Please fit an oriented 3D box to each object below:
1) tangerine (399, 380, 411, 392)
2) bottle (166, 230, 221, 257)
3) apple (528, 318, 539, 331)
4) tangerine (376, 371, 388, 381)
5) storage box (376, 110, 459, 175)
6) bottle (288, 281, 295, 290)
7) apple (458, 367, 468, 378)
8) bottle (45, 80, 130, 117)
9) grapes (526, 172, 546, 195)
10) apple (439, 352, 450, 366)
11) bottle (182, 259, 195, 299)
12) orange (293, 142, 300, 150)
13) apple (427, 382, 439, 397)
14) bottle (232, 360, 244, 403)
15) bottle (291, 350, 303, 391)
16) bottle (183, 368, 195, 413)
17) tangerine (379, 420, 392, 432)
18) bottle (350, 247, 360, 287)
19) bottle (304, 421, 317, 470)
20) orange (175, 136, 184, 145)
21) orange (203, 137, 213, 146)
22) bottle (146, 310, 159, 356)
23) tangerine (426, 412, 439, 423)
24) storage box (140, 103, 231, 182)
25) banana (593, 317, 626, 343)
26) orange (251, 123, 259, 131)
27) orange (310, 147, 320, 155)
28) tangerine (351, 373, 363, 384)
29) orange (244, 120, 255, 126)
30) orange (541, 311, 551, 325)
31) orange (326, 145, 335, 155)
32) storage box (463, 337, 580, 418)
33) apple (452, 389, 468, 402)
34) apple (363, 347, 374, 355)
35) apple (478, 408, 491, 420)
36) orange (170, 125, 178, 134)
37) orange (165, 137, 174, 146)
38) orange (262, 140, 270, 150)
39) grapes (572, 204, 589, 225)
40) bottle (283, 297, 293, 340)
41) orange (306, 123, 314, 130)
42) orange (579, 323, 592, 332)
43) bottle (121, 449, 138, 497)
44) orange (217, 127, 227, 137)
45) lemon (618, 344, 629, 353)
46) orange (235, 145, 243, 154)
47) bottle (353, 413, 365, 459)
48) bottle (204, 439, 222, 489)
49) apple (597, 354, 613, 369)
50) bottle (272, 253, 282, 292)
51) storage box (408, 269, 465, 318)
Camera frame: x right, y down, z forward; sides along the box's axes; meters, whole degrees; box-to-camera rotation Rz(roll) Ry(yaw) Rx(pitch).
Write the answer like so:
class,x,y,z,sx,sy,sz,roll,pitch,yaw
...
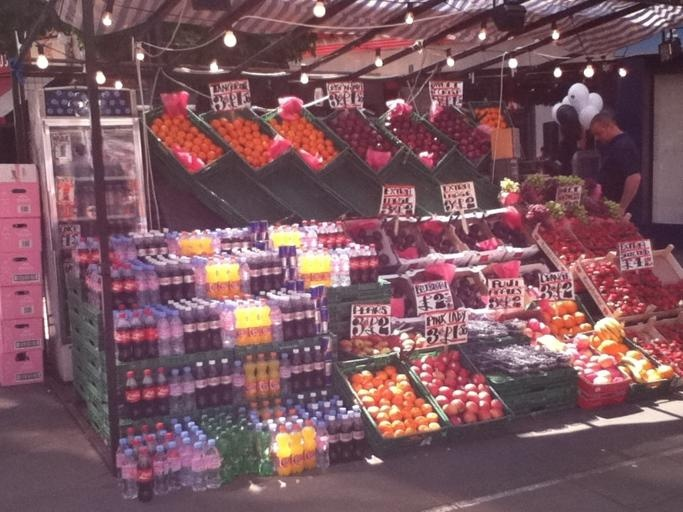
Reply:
class,x,y,z,sx,sy,sz,roll,pitch,yaw
tangerine,0.616,1.229,5.939,0.079,0.089,0.083,2,-2,-33
bottle,-1.489,-0.131,6.270,0.526,0.231,0.248,-5,13,-16
apple,2.193,0.778,7.085,0.098,0.129,0.103,0,0,10
tangerine,0.390,1.162,6.075,0.073,0.078,0.094,-1,40,9
storage box,1.139,-1.812,9.400,0.810,1.108,0.365,-29,-19,-38
bottle,-0.473,0.273,5.906,0.070,0.074,0.072,-3,9,-20
apple,1.229,1.154,6.239,0.073,0.081,0.075,-4,11,-3
bottle,-3.073,-1.869,7.610,1.045,0.356,0.150,-8,14,-26
grapes,2.702,-1.011,8.682,0.215,0.158,0.285,0,21,13
apple,1.064,1.031,6.353,0.102,0.141,0.116,3,-11,4
bottle,-1.420,0.205,5.799,0.110,0.340,0.161,-4,12,-15
orange,-0.613,-1.514,8.589,0.077,0.085,0.076,6,-14,8
apple,0.890,1.271,5.959,0.094,0.124,0.098,1,-5,16
bottle,-0.901,1.095,5.510,0.134,0.359,0.094,-11,15,-38
bottle,-0.402,1.029,5.697,0.114,0.367,0.106,-1,12,0
bottle,-1.315,1.141,5.379,0.102,0.379,0.083,-5,12,-16
tangerine,0.397,1.504,5.534,0.107,0.052,0.104,12,19,43
bottle,0.146,0.109,6.483,0.101,0.323,0.089,-1,12,2
bottle,-0.263,1.591,5.302,0.129,0.404,0.124,-1,12,0
orange,-2.095,-1.492,8.083,0.095,0.106,0.099,-2,3,11
orange,-1.763,-1.511,8.208,0.078,0.080,0.082,-3,8,-4
bottle,-1.620,0.662,5.353,0.095,0.381,0.126,0,12,4
tangerine,0.840,1.458,5.674,0.069,0.076,0.072,-1,5,5
storage box,-2.033,-1.524,8.132,0.689,1.080,0.351,-29,-10,-43
banana,3.042,0.829,7.004,0.295,0.238,0.107,18,12,24
orange,-1.172,-1.783,8.597,0.094,0.098,0.114,-16,44,-39
orange,-0.361,-1.452,8.632,0.107,0.134,0.107,-2,5,-37
tangerine,0.157,1.156,5.958,0.080,0.102,0.084,1,2,2
orange,-1.261,-1.834,8.570,0.083,0.106,0.085,2,17,45
orange,2.372,0.707,7.192,0.109,0.138,0.107,-22,10,-42
orange,-0.145,-1.483,8.724,0.114,0.149,0.121,-2,8,2
storage box,1.893,1.195,6.300,0.763,0.296,0.766,-8,18,-33
apple,1.137,1.321,5.925,0.094,0.098,0.098,-4,-9,1
apple,0.304,0.957,6.317,0.071,0.043,0.137,8,17,36
apple,1.343,1.469,5.797,0.087,0.114,0.091,-2,6,-6
orange,-2.187,-1.656,8.144,0.078,0.103,0.082,0,4,5
orange,-2.215,-1.477,8.031,0.089,0.116,0.094,-2,5,3
orange,-1.008,-1.502,8.479,0.091,0.118,0.095,-12,-17,-4
grapes,3.165,-0.567,8.253,0.196,0.142,0.278,-2,42,-1
bottle,-0.483,0.572,5.706,0.107,0.367,0.078,-6,13,-22
orange,-0.446,-1.823,8.841,0.092,0.080,0.076,27,-10,-38
orange,2.837,0.823,7.182,0.097,0.106,0.101,3,10,3
bottle,-1.685,1.711,4.952,0.124,0.371,0.160,-6,13,-21
orange,-1.587,-1.667,8.352,0.104,0.111,0.100,28,-9,11
lemon,3.153,1.022,6.940,0.090,0.114,0.094,-13,3,-9
orange,-1.358,-1.424,8.300,0.095,0.093,0.099,22,40,27
bottle,0.153,1.566,5.450,0.104,0.403,0.101,-1,12,0
bottle,-1.036,1.651,5.025,0.140,0.431,0.109,-4,12,-13
apple,2.794,1.099,6.540,0.110,0.085,0.145,2,5,6
bottle,-0.610,0.142,6.050,0.072,0.329,0.184,1,12,9
storage box,0.888,0.435,6.618,0.512,0.539,0.144,-13,-1,-22
